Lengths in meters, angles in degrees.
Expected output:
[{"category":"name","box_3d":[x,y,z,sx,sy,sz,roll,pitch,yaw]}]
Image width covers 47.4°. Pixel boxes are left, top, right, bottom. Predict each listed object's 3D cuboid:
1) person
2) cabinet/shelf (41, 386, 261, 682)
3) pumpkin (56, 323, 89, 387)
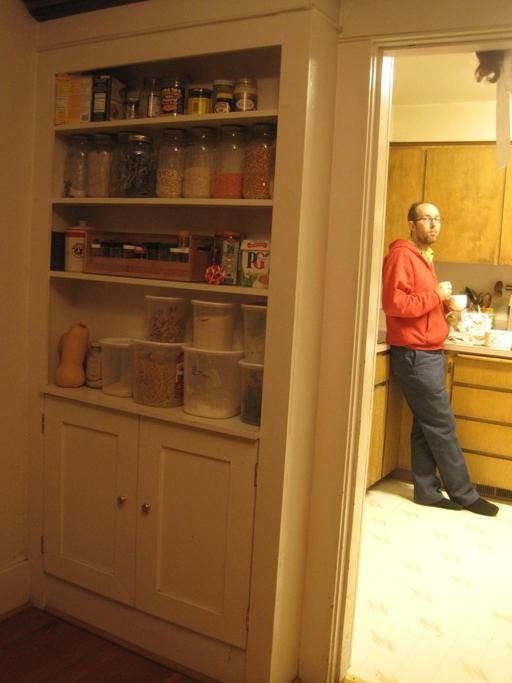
[{"category":"person","box_3d":[0.921,0.088,3.091,0.694,1.631,0.466,1,7,-17]},{"category":"cabinet/shelf","box_3d":[-0.302,0.603,1.809,0.845,0.765,0.328,5,2,28]},{"category":"pumpkin","box_3d":[-0.639,0.054,2.060,0.105,0.230,0.099,6,0,-14]}]
